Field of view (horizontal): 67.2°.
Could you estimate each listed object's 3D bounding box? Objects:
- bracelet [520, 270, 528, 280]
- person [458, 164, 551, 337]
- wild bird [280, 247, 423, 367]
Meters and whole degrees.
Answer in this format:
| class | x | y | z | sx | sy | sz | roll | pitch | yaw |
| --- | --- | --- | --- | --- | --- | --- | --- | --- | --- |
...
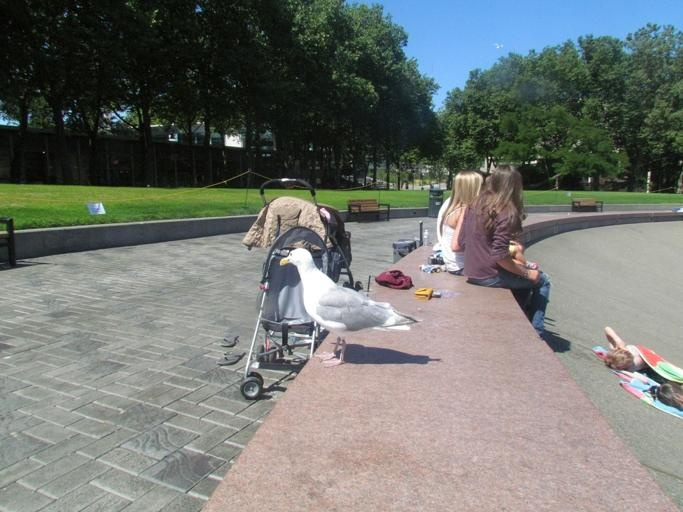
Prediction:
| class | x | y | z | sx | sy | sz | roll | pitch | yaw |
| --- | --- | --- | --- | --- | --- | --- | --- | --- | --- |
| bracelet | 2.174 | 0.207 | 6.137 | 0.082 | 0.030 | 0.085 | -5 | -22 | 9 |
| person | 2.194 | -0.027 | 6.620 | 1.226 | 2.308 | 0.875 | -7 | 19 | -12 |
| wild bird | 0.069 | 0.424 | 4.469 | 1.162 | 0.937 | 0.446 | 1 | 16 | -3 |
